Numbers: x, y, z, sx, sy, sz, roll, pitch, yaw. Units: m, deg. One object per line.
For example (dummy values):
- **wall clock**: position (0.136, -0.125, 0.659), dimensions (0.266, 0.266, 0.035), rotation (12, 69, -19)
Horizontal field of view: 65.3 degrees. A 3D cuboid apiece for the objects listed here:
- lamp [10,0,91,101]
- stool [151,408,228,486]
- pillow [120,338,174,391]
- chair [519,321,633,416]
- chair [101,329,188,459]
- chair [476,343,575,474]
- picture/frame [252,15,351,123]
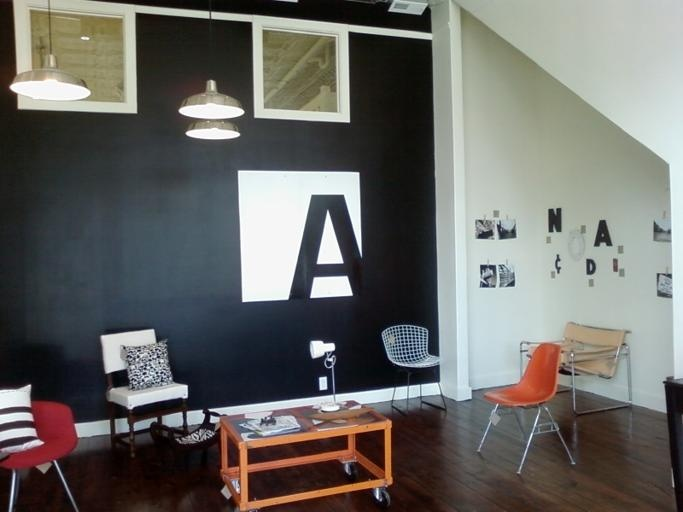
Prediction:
- **lamp**: position (-2.175, -1.348, 3.994), dimensions (0.423, 0.292, 0.413), rotation (0, 6, 16)
- **stool**: position (-1.459, 1.821, 5.306), dimensions (0.602, 0.451, 0.344), rotation (-14, -1, -28)
- **pillow**: position (-2.108, 1.167, 5.757), dimensions (0.465, 0.466, 0.140), rotation (-8, -8, -43)
- **chair**: position (2.973, 1.390, 6.898), dimensions (0.898, 0.991, 1.168), rotation (-1, -3, -16)
- **chair**: position (-2.145, 1.454, 5.838), dimensions (0.843, 1.217, 0.856), rotation (-2, 0, -25)
- **chair**: position (1.819, 1.478, 5.341), dimensions (0.668, 1.078, 0.757), rotation (0, -2, -14)
- **picture/frame**: position (-0.500, -2.278, 6.652), dimensions (1.123, 1.161, 0.097), rotation (-1, 5, -6)
